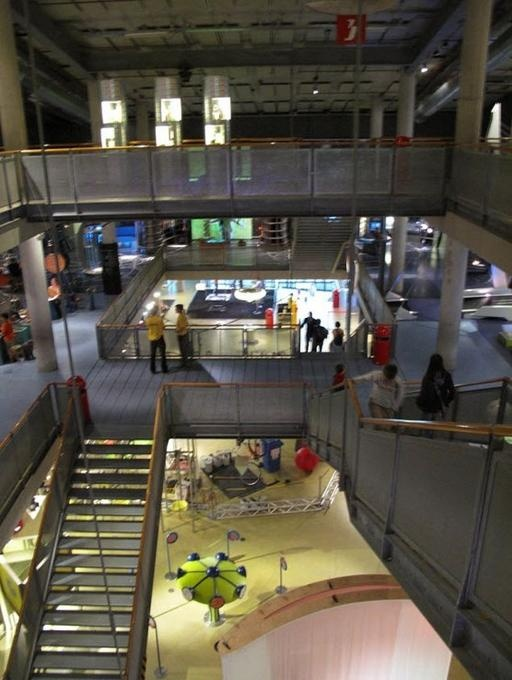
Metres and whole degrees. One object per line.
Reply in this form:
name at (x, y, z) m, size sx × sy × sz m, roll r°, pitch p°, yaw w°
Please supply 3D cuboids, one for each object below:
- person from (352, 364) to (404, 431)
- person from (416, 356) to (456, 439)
person at (1.607, 0.875, 6.352) m, size 0.704 × 1.233 × 0.336 m, roll 1°, pitch 25°, yaw 15°
person at (2.307, 0.672, 6.046) m, size 0.496 × 0.835 × 0.871 m, roll -15°, pitch -24°, yaw 21°
